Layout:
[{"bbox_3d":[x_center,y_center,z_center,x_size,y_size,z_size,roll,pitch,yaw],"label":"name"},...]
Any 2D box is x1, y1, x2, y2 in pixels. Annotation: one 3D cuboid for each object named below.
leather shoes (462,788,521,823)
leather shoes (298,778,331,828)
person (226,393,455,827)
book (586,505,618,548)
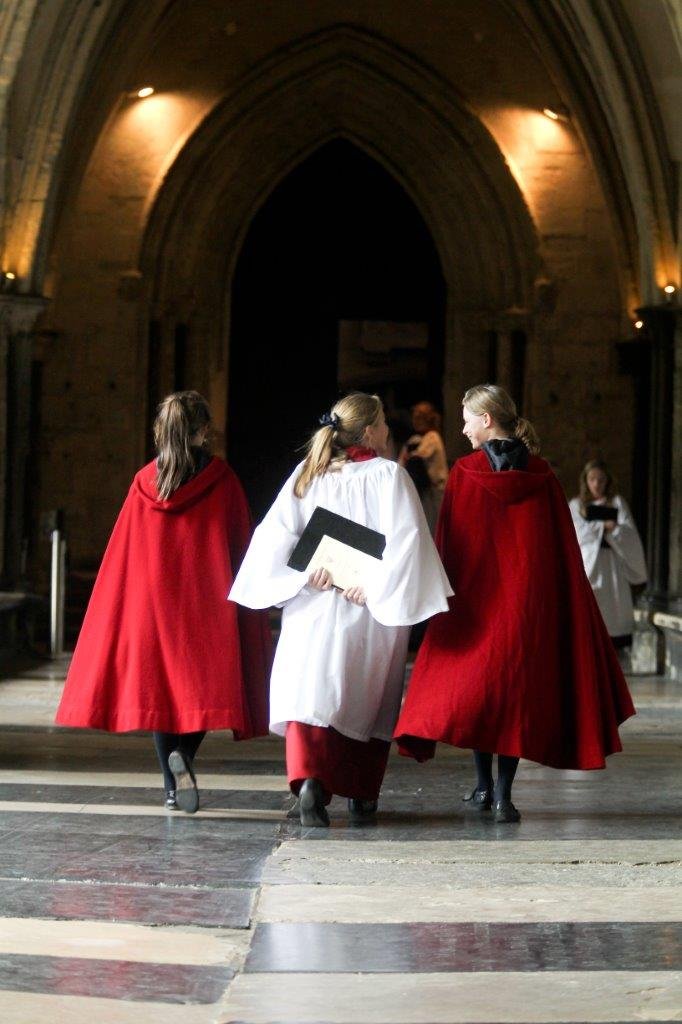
[{"bbox_3d":[0.510,0.985,3.654,0.074,0.079,0.197,-2,9,-17],"label":"leather shoes"},{"bbox_3d":[-0.089,0.923,3.514,0.097,0.147,0.180,1,-4,-1],"label":"leather shoes"},{"bbox_3d":[-0.008,0.304,3.611,0.736,1.413,0.329,1,-4,5],"label":"person"},{"bbox_3d":[1.844,0.091,7.804,0.327,0.284,0.075,-3,5,-7],"label":"book"}]
